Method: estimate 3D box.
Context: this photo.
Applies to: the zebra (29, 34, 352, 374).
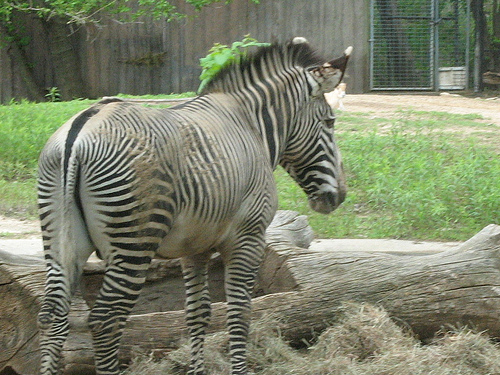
[{"bbox_3d":[-0.621,0.184,8.682,2.928,3.145,1.051,-9,15,-35],"label":"zebra"}]
